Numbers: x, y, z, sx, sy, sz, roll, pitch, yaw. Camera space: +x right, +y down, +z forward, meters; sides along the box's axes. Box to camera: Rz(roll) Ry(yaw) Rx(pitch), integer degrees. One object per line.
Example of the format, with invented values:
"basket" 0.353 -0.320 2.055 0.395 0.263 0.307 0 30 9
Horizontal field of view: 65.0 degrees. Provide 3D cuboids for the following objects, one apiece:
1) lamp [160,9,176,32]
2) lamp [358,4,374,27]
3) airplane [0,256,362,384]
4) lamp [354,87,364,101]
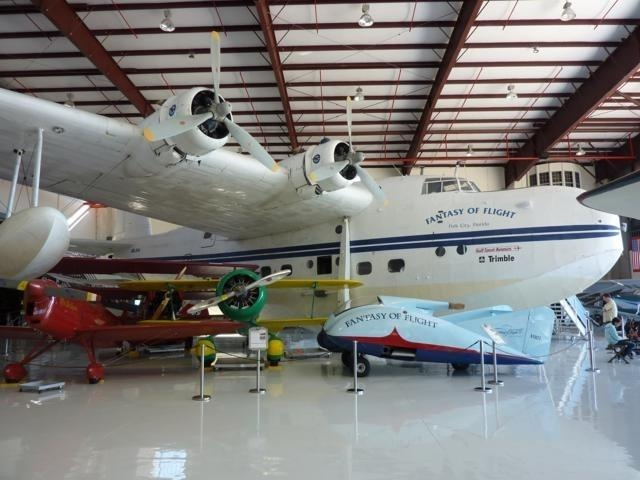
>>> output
"lamp" -4.653 -6.638 15.321 0.366 0.600 0.832 -2 6 -13
"lamp" 1.370 -6.719 15.098 0.383 0.703 1.066 0 6 6
"airplane" -3.460 1.759 11.841 6.481 2.661 4.023 -2 6 -11
"lamp" 1.448 -5.444 18.835 0.577 0.422 0.506 2 -5 0
